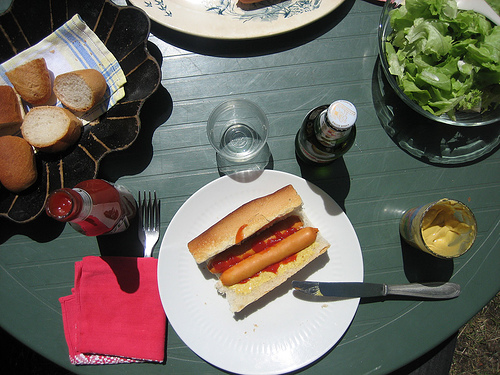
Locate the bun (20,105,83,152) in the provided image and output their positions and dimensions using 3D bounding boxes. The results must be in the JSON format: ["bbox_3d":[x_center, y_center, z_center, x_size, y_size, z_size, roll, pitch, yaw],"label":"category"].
[{"bbox_3d":[-1.496,-0.420,3.073,0.335,0.105,0.400,-23,60,-26],"label":"bun"}]

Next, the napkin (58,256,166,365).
[{"bbox_3d":[-0.947,0.878,3.034,0.653,0.088,0.736,-2,77,2],"label":"napkin"}]

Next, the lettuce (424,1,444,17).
[{"bbox_3d":[1.322,-1.296,3.000,0.117,0.045,0.088,14,78,6],"label":"lettuce"}]

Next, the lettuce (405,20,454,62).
[{"bbox_3d":[1.298,-1.058,3.031,0.327,0.095,0.190,36,81,10],"label":"lettuce"}]

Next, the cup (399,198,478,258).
[{"bbox_3d":[1.386,0.294,3.138,0.380,0.469,0.475,8,91,11],"label":"cup"}]

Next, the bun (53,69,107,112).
[{"bbox_3d":[-1.282,-0.722,3.063,0.311,0.088,0.350,17,93,0],"label":"bun"}]

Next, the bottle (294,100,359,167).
[{"bbox_3d":[0.546,-0.339,2.918,0.262,0.599,0.277,0,75,0],"label":"bottle"}]

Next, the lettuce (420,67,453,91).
[{"bbox_3d":[1.336,-0.782,3.020,0.208,0.052,0.143,31,82,9],"label":"lettuce"}]

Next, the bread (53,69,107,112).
[{"bbox_3d":[-1.323,-0.734,3.164,0.346,0.339,0.101,-25,52,24],"label":"bread"}]
